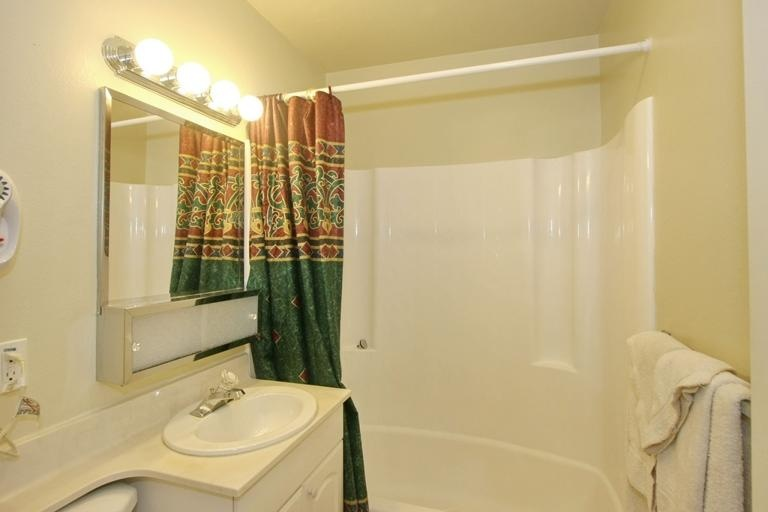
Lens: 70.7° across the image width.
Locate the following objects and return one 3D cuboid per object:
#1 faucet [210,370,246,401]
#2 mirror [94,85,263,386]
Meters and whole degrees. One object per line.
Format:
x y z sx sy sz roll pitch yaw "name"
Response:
-0.800 0.623 2.617 0.194 0.130 0.101 -3 -6 17 "faucet"
-0.999 -0.089 2.528 0.148 1.283 0.728 0 3 36 "mirror"
